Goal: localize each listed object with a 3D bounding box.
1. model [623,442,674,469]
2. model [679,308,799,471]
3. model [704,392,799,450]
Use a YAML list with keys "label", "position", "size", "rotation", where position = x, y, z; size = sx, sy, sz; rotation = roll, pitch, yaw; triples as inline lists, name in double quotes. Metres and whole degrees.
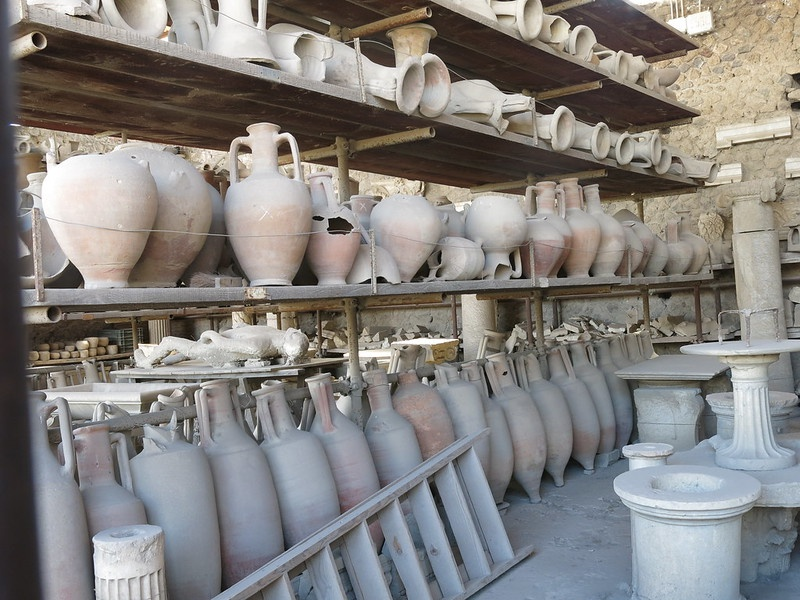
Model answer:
- label: "model"
  position: [1.020, 0.649, 2.728]
  size: [0.164, 0.079, 0.146]
  rotation: [-1, -3, -12]
- label: "model"
  position: [1.426, 0.376, 2.690]
  size: [0.447, 0.637, 0.402]
  rotation: [-5, 2, 16]
- label: "model"
  position: [1.694, 0.555, 3.179]
  size: [0.370, 0.223, 0.330]
  rotation: [-2, 5, -8]
